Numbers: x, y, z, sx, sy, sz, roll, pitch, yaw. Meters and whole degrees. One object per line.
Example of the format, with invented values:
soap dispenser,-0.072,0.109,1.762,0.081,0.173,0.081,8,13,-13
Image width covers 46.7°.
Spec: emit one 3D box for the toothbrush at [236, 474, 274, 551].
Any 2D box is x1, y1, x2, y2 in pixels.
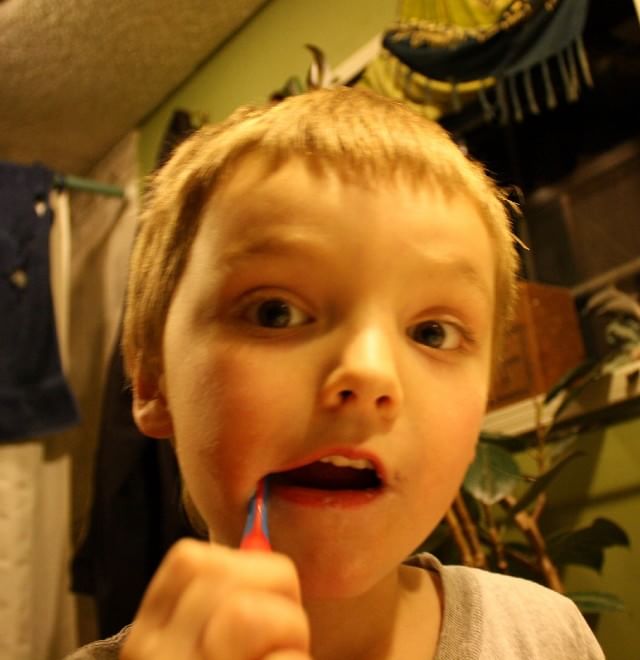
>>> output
toothbrush,-0.051,0.146,0.586,0.026,0.052,0.069,-7,-6,-6
